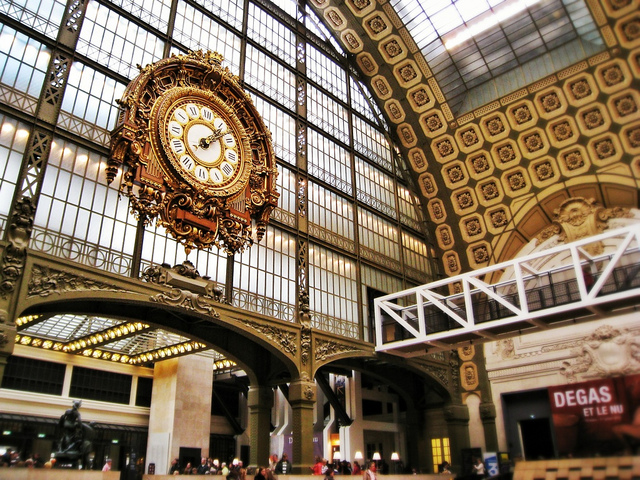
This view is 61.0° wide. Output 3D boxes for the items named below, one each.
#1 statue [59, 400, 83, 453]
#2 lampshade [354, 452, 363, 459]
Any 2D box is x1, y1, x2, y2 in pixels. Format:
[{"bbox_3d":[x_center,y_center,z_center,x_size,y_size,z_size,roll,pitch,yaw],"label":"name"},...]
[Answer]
[{"bbox_3d":[-8.406,6.306,18.376,0.756,1.675,0.453,12,-29,-21],"label":"statue"},{"bbox_3d":[2.270,12.610,31.762,0.436,0.385,0.395,4,-17,-12],"label":"lampshade"}]
